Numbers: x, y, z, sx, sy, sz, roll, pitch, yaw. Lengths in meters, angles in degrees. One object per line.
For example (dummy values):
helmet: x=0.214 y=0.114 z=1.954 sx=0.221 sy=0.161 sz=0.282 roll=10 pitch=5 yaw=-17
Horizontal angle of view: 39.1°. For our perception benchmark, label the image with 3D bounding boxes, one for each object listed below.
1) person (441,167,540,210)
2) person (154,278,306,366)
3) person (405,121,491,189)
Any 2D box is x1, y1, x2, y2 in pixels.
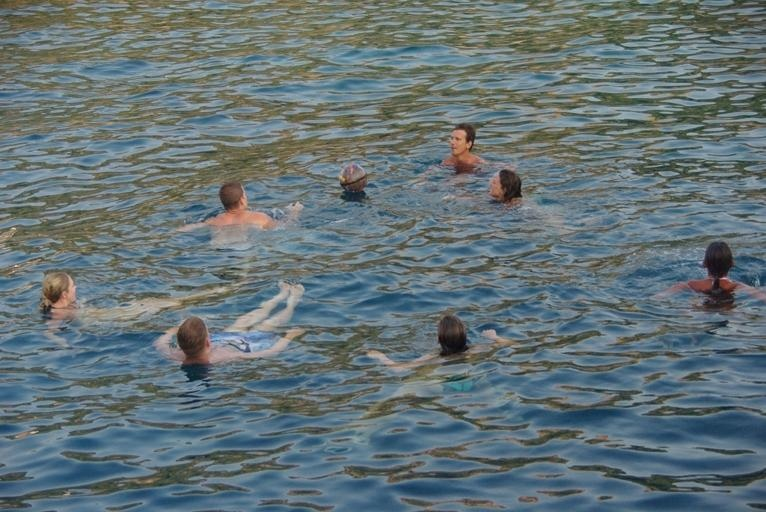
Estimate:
person: x=2.691 y=-1.485 z=25.892 sx=1.076 sy=0.860 sz=2.960 roll=15 pitch=-11 yaw=-43
person: x=-2.663 y=1.524 z=21.257 sx=1.661 sy=0.630 sz=2.155 roll=9 pitch=27 yaw=34
person: x=1.681 y=-2.474 z=27.095 sx=3.406 sy=0.898 sz=0.931 roll=-7 pitch=61 yaw=24
